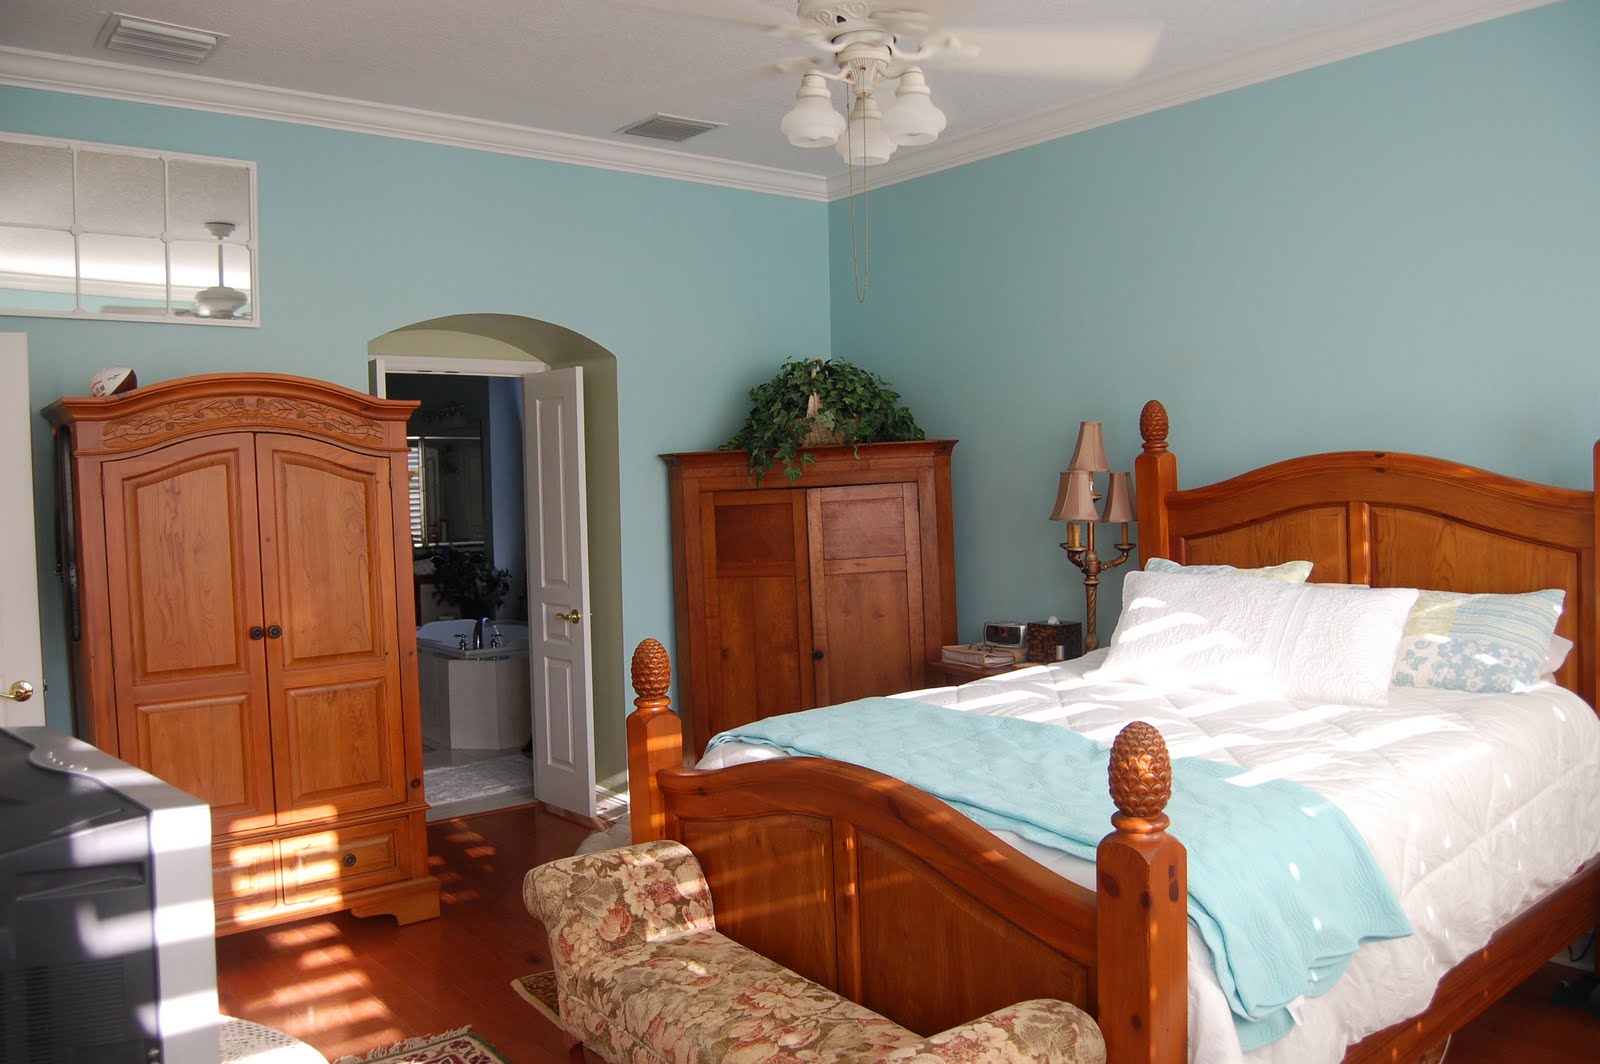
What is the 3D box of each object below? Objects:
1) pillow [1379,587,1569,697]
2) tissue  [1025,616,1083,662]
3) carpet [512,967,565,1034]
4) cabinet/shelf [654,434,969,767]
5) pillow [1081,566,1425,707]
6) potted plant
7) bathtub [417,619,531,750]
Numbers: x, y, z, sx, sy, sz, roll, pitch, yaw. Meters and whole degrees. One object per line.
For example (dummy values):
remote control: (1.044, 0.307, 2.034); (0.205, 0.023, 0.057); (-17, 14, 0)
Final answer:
pillow: (2.558, 0.402, 4.146); (0.525, 0.325, 0.337); (1, 11, 31)
tissue : (1.288, 0.539, 5.622); (0.245, 0.224, 0.243); (2, -5, -42)
carpet: (-1.033, 1.840, 4.340); (0.192, 0.061, 0.272); (-2, 4, -38)
cabinet/shelf: (0.091, 0.326, 5.678); (1.955, 2.410, 0.711); (-1, -2, -7)
pillow: (1.775, 0.401, 4.346); (1.057, 0.385, 0.552); (3, 12, 39)
potted plant: (0.149, -0.637, 6.244); (0.831, 0.523, 0.804); (-1, 3, 0)
bathtub: (-2.325, 1.088, 8.027); (0.637, 0.686, 1.146); (-9, 10, -25)
